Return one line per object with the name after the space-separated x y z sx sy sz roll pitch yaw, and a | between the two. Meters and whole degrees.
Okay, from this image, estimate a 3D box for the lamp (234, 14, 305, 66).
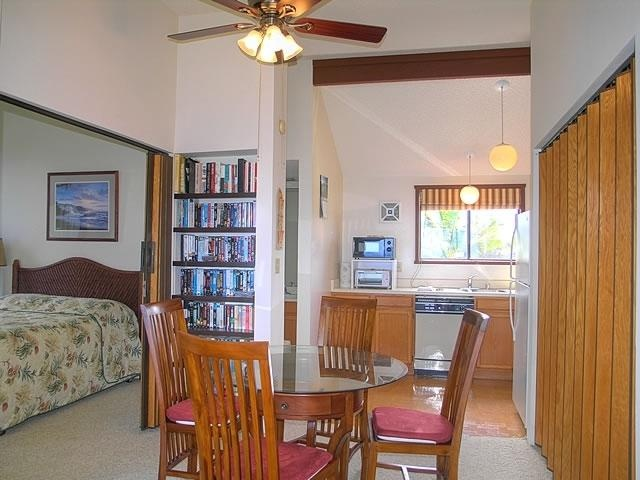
-0.293 -1.160 2.992 0.363 0.206 0.278 0 4 -10 | lamp

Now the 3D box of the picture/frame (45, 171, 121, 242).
-2.750 -0.393 5.968 0.771 0.841 0.059 0 0 10 | picture/frame

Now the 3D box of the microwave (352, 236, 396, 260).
0.696 0.103 6.479 0.400 0.235 0.304 0 -4 7 | microwave

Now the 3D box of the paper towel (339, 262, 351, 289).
0.347 0.464 6.627 0.131 0.299 0.161 1 4 4 | paper towel

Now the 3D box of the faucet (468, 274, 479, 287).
2.011 0.546 6.647 0.121 0.197 0.149 0 2 -17 | faucet
